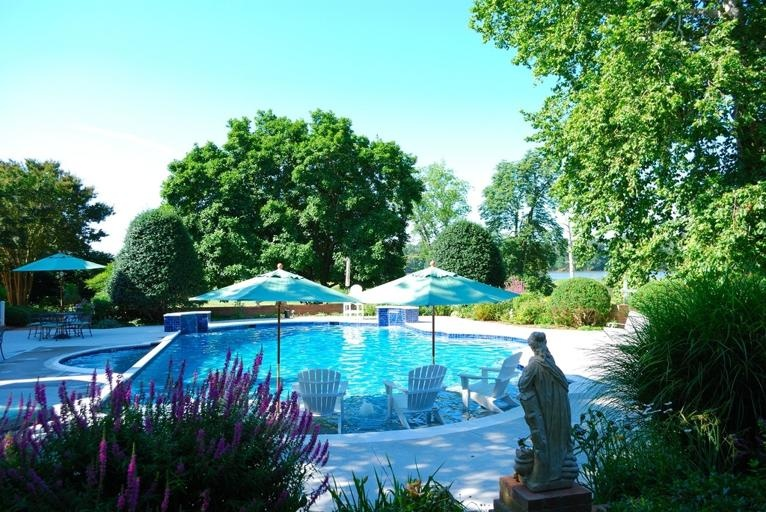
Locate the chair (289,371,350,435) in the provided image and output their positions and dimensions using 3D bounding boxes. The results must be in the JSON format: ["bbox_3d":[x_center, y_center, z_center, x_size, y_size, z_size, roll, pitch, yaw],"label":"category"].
[{"bbox_3d":[-1.206,2.849,11.621,1.185,1.636,1.157,0,7,-4],"label":"chair"}]

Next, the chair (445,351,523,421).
[{"bbox_3d":[2.403,2.746,12.529,1.337,1.228,1.116,-2,-1,33],"label":"chair"}]

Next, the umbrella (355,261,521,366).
[{"bbox_3d":[1.035,0.968,12.674,2.565,1.883,2.522,2,-7,-39],"label":"umbrella"}]

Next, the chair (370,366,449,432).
[{"bbox_3d":[0.672,2.893,11.992,1.142,1.298,1.406,1,-2,-14],"label":"chair"}]

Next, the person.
[{"bbox_3d":[2.047,1.968,7.286,0.721,1.995,0.404,-1,-7,-16],"label":"person"}]
